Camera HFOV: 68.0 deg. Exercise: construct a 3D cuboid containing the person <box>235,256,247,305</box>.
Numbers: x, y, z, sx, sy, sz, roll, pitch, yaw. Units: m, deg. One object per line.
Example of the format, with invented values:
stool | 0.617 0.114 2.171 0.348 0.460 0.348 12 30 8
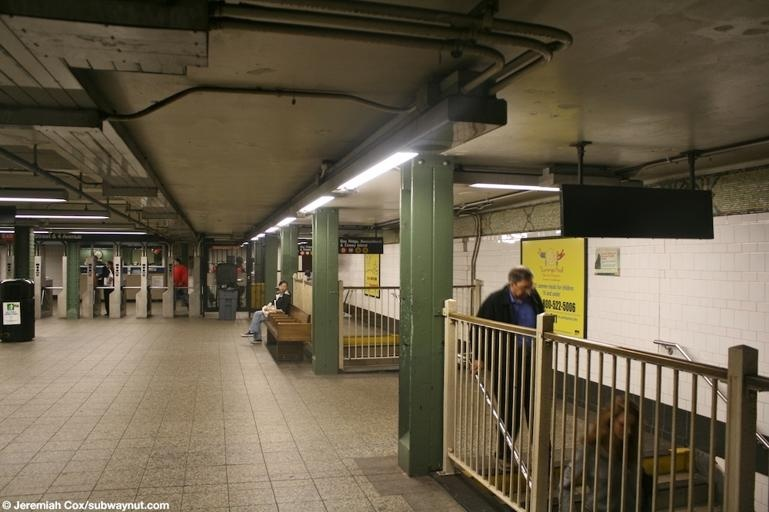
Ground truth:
person | -5.268 1.001 20.781 0.337 1.209 1.310 -1 -5 -6
